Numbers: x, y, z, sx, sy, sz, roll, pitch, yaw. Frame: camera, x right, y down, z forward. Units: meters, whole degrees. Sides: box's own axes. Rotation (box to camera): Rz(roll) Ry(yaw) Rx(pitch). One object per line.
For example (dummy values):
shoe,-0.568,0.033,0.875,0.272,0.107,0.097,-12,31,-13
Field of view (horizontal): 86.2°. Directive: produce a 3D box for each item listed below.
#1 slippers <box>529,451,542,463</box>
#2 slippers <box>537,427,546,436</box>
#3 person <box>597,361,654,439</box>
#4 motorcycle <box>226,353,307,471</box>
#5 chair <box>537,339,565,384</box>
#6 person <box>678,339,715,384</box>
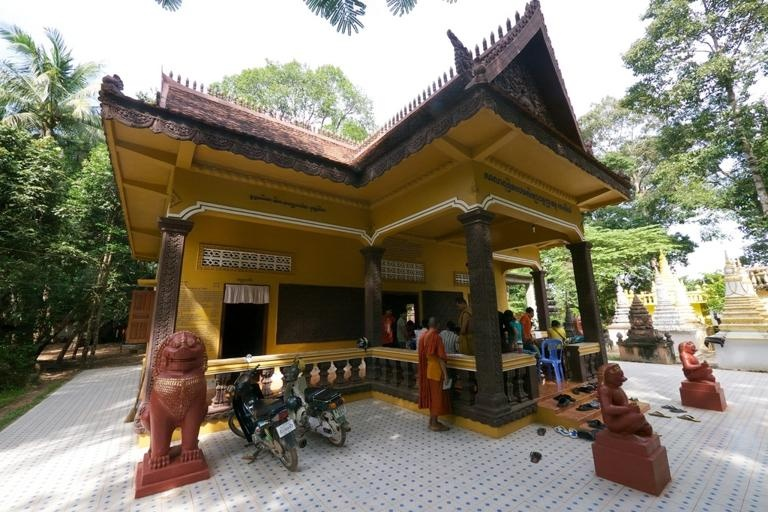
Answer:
slippers,3.211,4.246,8.718,0.158,0.221,0.232,17,-23,-27
slippers,3.652,4.019,9.460,0.117,0.137,0.148,17,-19,-30
person,4.808,2.876,8.288,0.868,1.443,0.360,-5,-11,11
motorcycle,-2.680,3.375,9.006,1.800,2.334,0.770,-7,-12,19
chair,4.583,2.858,11.279,0.779,1.005,0.780,-2,-4,-3
person,8.156,2.747,10.795,1.021,1.216,0.947,-6,-15,33
